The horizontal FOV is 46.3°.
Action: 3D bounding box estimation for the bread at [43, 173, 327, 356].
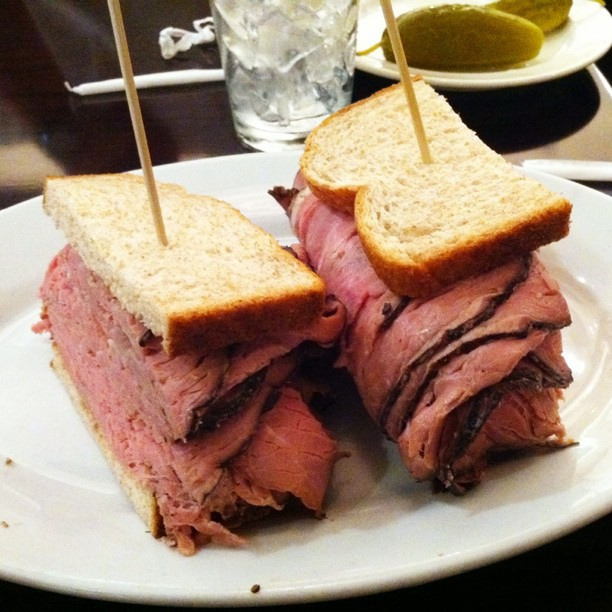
[{"bbox_3d":[-0.354,-0.179,1.706,0.444,0.102,0.743,-15,34,-39],"label":"bread"}]
